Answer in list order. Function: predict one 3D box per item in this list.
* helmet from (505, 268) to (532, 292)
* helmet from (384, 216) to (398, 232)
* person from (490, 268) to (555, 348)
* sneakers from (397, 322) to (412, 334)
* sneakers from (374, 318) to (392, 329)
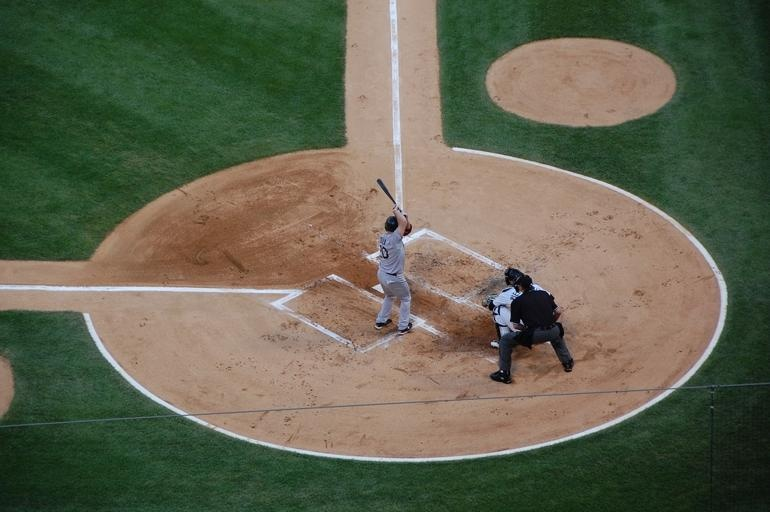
[{"bbox_3d":[3.101,0.569,30.906,0.434,0.330,0.691,-34,47,-28],"label":"helmet"},{"bbox_3d":[0.175,-0.754,31.139,0.341,0.323,0.364,1,22,0],"label":"helmet"},{"bbox_3d":[3.196,1.323,30.938,1.339,1.893,1.010,25,44,29],"label":"person"},{"bbox_3d":[0.508,1.791,31.797,0.439,0.168,0.171,-32,50,-26],"label":"sneakers"},{"bbox_3d":[-0.004,1.661,31.931,0.458,0.176,0.151,-12,49,-9],"label":"sneakers"}]
